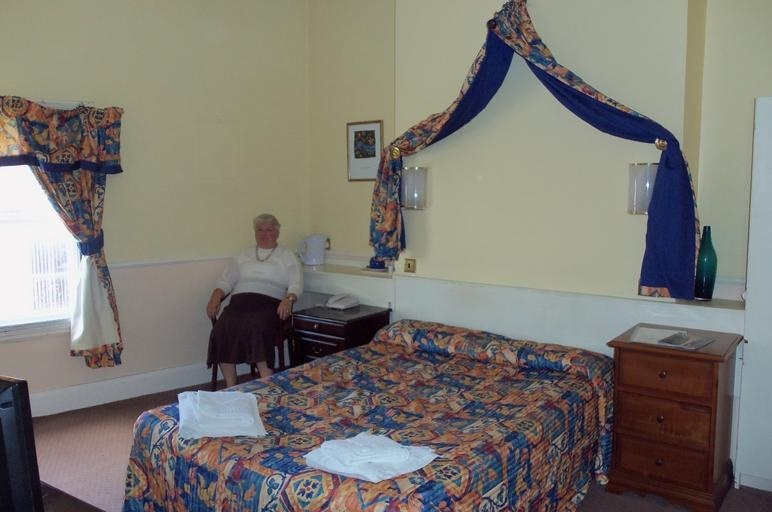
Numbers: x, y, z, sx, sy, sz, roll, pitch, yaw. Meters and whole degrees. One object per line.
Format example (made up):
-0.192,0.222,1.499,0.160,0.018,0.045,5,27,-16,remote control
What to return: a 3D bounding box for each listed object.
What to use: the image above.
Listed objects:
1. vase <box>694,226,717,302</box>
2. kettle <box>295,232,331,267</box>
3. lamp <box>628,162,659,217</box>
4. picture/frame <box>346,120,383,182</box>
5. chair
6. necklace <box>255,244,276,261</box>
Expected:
2.350,0.056,4.330,0.122,0.532,0.172,3,9,33,vase
-0.750,-0.052,6.154,0.354,0.338,0.267,3,0,-3,kettle
1.901,-0.490,4.405,0.247,0.400,0.250,1,8,11,lamp
-0.227,-1.063,6.007,0.447,0.607,0.065,3,9,33,picture/frame
-1.112,0.706,5.603,0.633,0.809,0.838,-1,-6,5,chair
-1.196,-0.036,5.693,0.123,0.062,0.167,0,24,5,necklace
